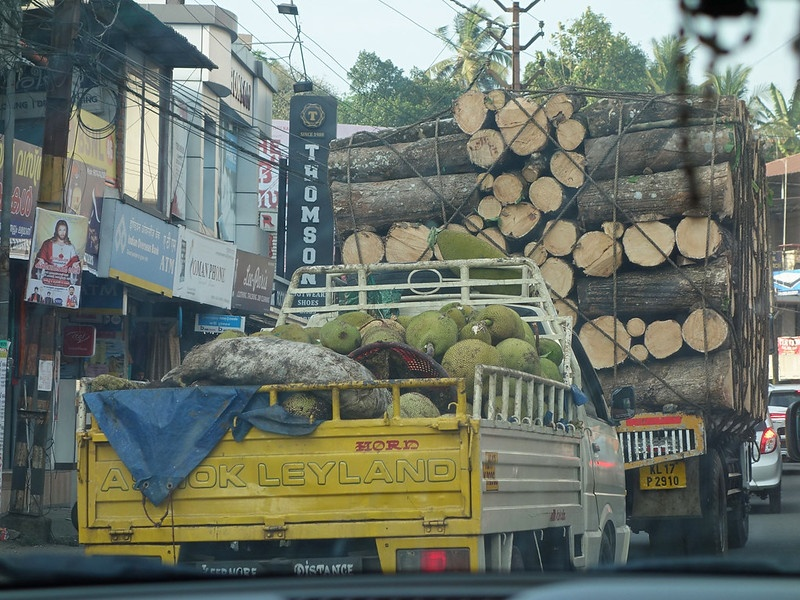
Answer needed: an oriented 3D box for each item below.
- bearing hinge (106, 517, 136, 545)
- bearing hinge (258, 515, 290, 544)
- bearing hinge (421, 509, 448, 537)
[{"bbox_3d":[-2.829,2.355,17.999,0.247,0.227,0.049,-4,9,8],"label":"bearing hinge"},{"bbox_3d":[-1.261,2.286,17.703,0.227,0.166,0.233,2,-1,0],"label":"bearing hinge"},{"bbox_3d":[0.331,2.205,17.689,0.252,0.260,0.063,-5,9,3],"label":"bearing hinge"}]
